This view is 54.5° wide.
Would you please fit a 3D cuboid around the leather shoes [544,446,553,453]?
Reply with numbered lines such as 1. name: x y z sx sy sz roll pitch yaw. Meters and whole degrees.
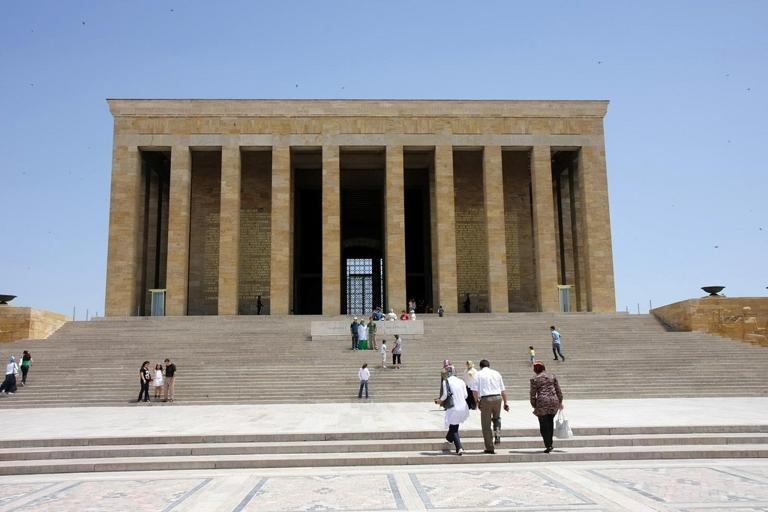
1. leather shoes: 3.423 4.001 15.512 0.208 0.156 0.111 -2 1 9

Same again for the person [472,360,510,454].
1. person: 2.224 3.157 15.619 0.682 1.907 0.660 -1 6 8

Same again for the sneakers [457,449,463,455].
1. sneakers: 1.575 4.006 15.346 0.105 0.060 0.157 0 -13 -5

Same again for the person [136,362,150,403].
1. person: -7.157 3.649 22.170 0.423 1.196 0.829 -3 6 -18

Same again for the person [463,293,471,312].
1. person: 4.401 2.422 39.445 0.363 0.896 0.559 -1 6 6

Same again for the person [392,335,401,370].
1. person: 0.410 3.071 24.349 0.292 0.998 0.583 -1 6 0

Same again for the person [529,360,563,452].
1. person: 3.375 3.132 15.456 0.595 1.926 0.608 0 6 13

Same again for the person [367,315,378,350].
1. person: -0.407 2.710 26.122 0.312 0.950 0.875 -2 6 -4

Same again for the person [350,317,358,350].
1. person: -1.015 2.692 25.897 0.289 0.990 0.504 -2 6 -1

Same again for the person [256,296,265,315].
1. person: -6.460 2.485 38.707 0.356 0.880 0.919 -2 6 -6

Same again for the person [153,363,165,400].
1. person: -6.708 3.677 22.153 0.315 1.120 0.920 -3 6 -17

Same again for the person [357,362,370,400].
1. person: -0.615 3.673 22.221 0.312 1.134 0.657 -2 6 -2

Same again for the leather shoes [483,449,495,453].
1. leather shoes: 2.197 4.035 15.499 0.201 0.092 0.151 0 6 8

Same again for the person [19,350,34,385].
1. person: -11.378 3.461 23.610 0.305 0.960 1.004 -4 6 -22

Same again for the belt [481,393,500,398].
1. belt: 2.206 2.869 15.402 0.366 0.080 0.063 -2 6 -6

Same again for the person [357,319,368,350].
1. person: -0.711 2.730 25.934 0.332 0.918 0.546 -1 6 6
